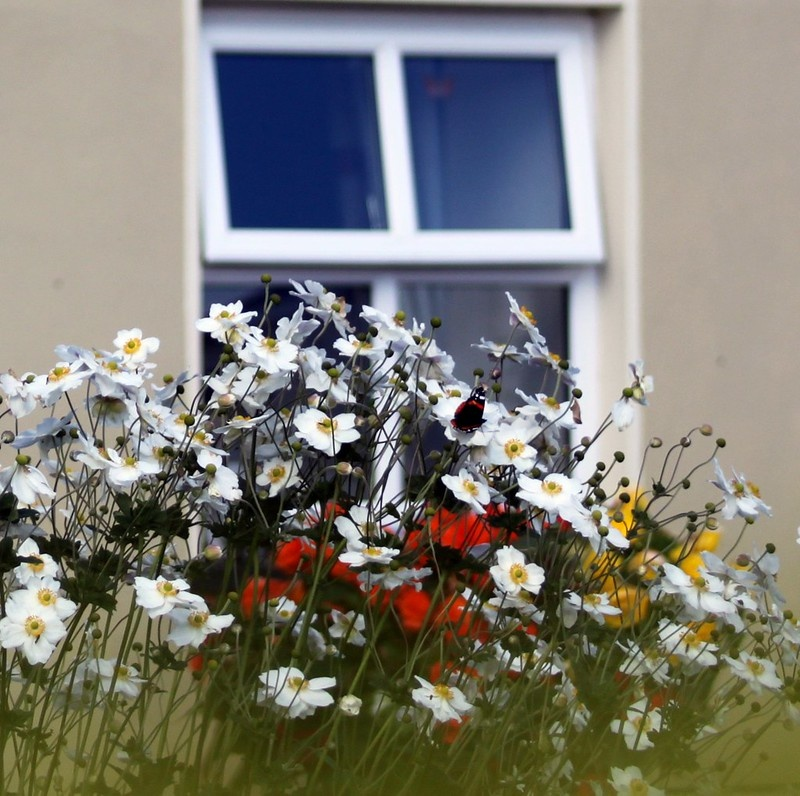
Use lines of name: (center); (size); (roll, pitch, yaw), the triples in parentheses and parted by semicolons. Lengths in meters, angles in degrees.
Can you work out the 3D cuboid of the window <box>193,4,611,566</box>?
window: (-0.023, -0.198, 4.235); (0.949, 1.209, 0.128); (0, 1, -3)
